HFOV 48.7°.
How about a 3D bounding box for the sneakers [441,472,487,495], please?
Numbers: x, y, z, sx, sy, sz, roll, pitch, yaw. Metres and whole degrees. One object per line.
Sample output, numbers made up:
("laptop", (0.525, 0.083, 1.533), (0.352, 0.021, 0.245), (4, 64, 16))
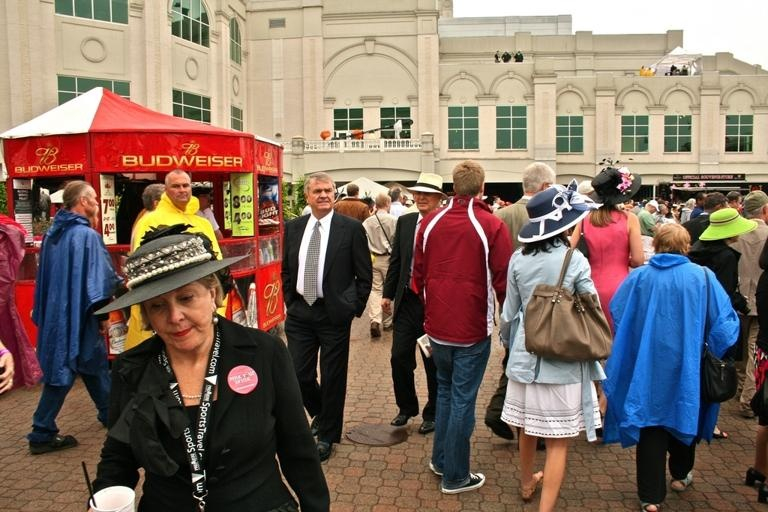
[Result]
("sneakers", (0.836, 2.351, 8.783), (0.491, 0.196, 0.176), (-6, 12, -22))

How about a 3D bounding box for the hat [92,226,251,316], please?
("hat", (-1.675, 0.059, 6.560), (0.857, 0.389, 0.832), (-22, -3, 6))

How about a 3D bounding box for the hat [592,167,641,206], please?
("hat", (2.585, -0.739, 9.539), (0.472, 0.467, 0.189), (-33, -45, 20))

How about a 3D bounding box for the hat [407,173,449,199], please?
("hat", (0.570, -0.869, 10.009), (0.356, 0.151, 0.387), (9, -11, 28))

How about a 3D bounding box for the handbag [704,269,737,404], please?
("handbag", (3.269, 0.798, 8.382), (0.369, 1.267, 0.328), (6, 11, 36))

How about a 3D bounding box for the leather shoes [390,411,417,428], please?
("leather shoes", (0.177, 1.960, 10.069), (0.347, 0.137, 0.121), (3, -7, -28))

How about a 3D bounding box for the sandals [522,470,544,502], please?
("sandals", (1.505, 2.341, 8.700), (0.124, 0.176, 0.411), (-6, 24, 35))

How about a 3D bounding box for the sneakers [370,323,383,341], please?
("sneakers", (-0.157, 1.273, 14.089), (0.143, 0.288, 0.207), (-3, 6, -3))

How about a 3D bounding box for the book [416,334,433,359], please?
("book", (0.446, 0.976, 8.990), (0.063, 0.227, 0.251), (-13, 13, -26))

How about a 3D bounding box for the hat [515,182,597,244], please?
("hat", (1.595, -0.482, 8.193), (0.818, 0.220, 0.775), (12, -25, -23))

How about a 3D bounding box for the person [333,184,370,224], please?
("person", (-0.623, -0.931, 14.814), (0.784, 0.695, 0.395), (4, 38, -7))

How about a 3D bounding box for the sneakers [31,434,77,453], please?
("sneakers", (-3.710, 2.129, 9.508), (0.472, 0.186, 0.182), (-4, 4, -24))
